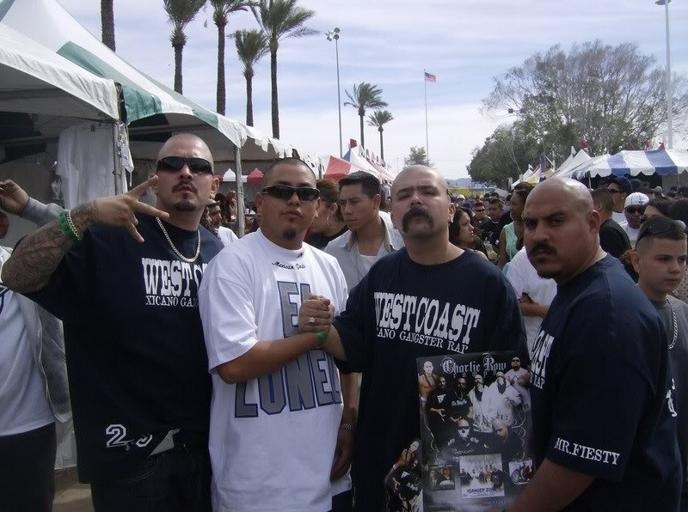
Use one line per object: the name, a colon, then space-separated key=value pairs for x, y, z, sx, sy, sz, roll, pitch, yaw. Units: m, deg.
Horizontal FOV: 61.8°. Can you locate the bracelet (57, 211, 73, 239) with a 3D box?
bracelet: x=-1.557 y=-0.167 z=3.233 sx=0.106 sy=0.154 sz=0.048 roll=3 pitch=3 yaw=23

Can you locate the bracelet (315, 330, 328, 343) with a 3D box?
bracelet: x=-0.129 y=0.466 z=3.337 sx=0.055 sy=0.058 sz=0.058 roll=-1 pitch=-13 yaw=1

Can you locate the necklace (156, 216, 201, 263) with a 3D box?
necklace: x=-1.071 y=-0.091 z=3.684 sx=0.053 sy=0.283 sz=0.221 roll=-21 pitch=15 yaw=36

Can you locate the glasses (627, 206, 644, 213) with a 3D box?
glasses: x=4.127 y=-0.651 z=8.111 sx=0.160 sy=0.064 sz=0.170 roll=-1 pitch=-15 yaw=42
